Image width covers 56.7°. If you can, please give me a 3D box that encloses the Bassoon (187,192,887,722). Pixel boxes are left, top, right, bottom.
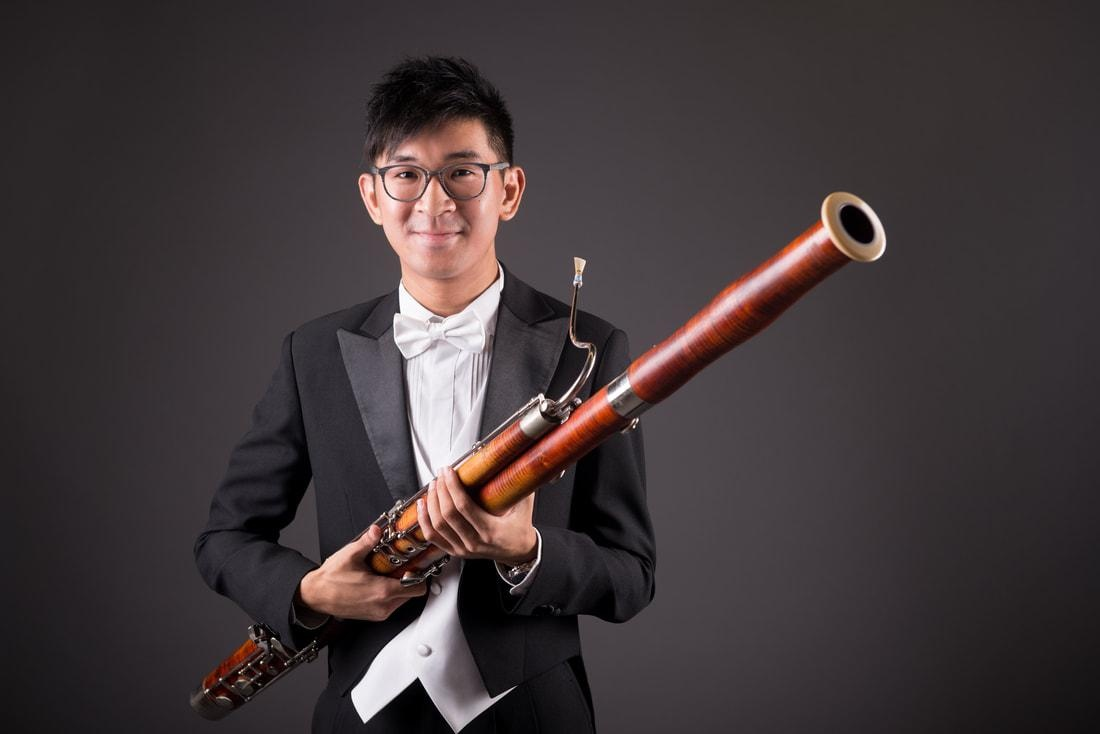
[{"bbox_3d":[-0.093,0.323,4.289,0.566,0.492,3.968,43,-56,-15],"label":"Bassoon"}]
